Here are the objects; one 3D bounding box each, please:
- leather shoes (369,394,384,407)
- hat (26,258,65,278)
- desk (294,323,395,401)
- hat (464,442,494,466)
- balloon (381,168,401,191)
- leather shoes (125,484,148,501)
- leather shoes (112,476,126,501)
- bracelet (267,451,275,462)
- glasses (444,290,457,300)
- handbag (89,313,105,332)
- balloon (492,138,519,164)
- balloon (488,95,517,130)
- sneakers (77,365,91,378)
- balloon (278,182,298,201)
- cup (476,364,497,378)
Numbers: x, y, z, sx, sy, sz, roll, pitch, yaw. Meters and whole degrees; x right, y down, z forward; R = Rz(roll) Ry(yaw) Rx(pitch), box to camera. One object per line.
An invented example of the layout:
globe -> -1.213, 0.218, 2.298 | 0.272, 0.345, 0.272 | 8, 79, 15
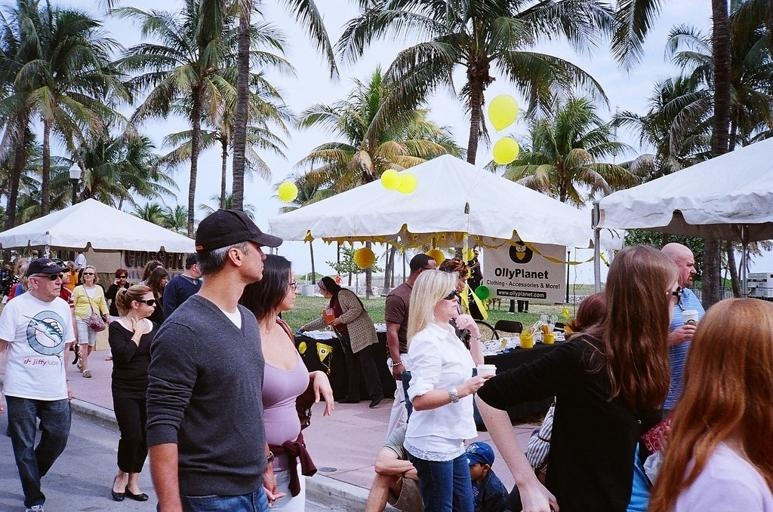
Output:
leather shoes -> -0.162, 2.337, 10.412 | 0.103, 0.114, 0.286 | -39, 4, 33
hat -> -3.617, 0.116, 6.814 | 0.270, 0.172, 0.200 | -3, 5, -18
desk -> -0.794, 1.753, 10.740 | 1.227, 0.840, 1.234 | -9, 15, -34
hat -> 0.819, 1.741, 5.738 | 0.234, 0.137, 0.174 | 12, 0, -11
balloon -> 0.073, -1.216, 9.968 | 0.267, 0.287, 0.312 | 30, -27, -10
leather shoes -> -2.787, 2.646, 7.249 | 0.299, 0.121, 0.117 | 2, -8, 18
leather shoes -> -2.984, 2.572, 7.190 | 0.098, 0.146, 0.326 | 23, 1, -29
bracelet -> -0.849, 1.471, 4.739 | 0.058, 0.072, 0.045 | -2, -5, 29
glasses -> 0.570, 0.344, 5.704 | 0.079, 0.029, 0.082 | -4, -20, -45
handbag -> -5.665, 1.283, 12.602 | 0.191, 0.434, 0.386 | -2, -6, 22
balloon -> 1.750, -1.606, 9.531 | 0.340, 0.446, 1.029 | 0, -3, 9
balloon -> 1.627, -2.005, 8.961 | 0.367, 0.464, 0.414 | 0, -3, 6
sneakers -> -5.912, 2.263, 12.709 | 0.187, 0.156, 0.518 | -1, 1, -31
balloon -> -1.615, -1.079, 10.539 | 0.263, 0.296, 1.037 | 0, -3, -11
cup -> 0.777, 0.879, 5.018 | 0.118, 0.076, 0.119 | -4, 0, 0
